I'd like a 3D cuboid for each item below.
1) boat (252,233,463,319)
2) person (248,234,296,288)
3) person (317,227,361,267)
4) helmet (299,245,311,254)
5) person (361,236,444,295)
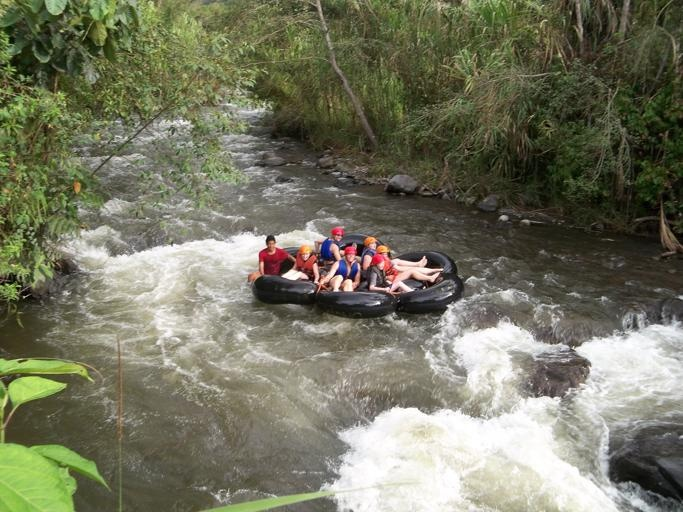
[{"bbox_3d":[0.250,0.433,8.484,1.938,0.299,1.677,7,13,22],"label":"boat"},{"bbox_3d":[-1.188,0.100,9.346,0.546,0.806,1.066,17,28,35],"label":"person"},{"bbox_3d":[-0.051,-0.120,9.697,0.926,0.686,0.480,-6,27,-15],"label":"person"},{"bbox_3d":[-0.589,-0.105,9.183,0.186,0.085,0.169,3,9,27],"label":"helmet"},{"bbox_3d":[0.995,0.201,8.898,1.284,0.535,0.738,0,33,13],"label":"person"}]
